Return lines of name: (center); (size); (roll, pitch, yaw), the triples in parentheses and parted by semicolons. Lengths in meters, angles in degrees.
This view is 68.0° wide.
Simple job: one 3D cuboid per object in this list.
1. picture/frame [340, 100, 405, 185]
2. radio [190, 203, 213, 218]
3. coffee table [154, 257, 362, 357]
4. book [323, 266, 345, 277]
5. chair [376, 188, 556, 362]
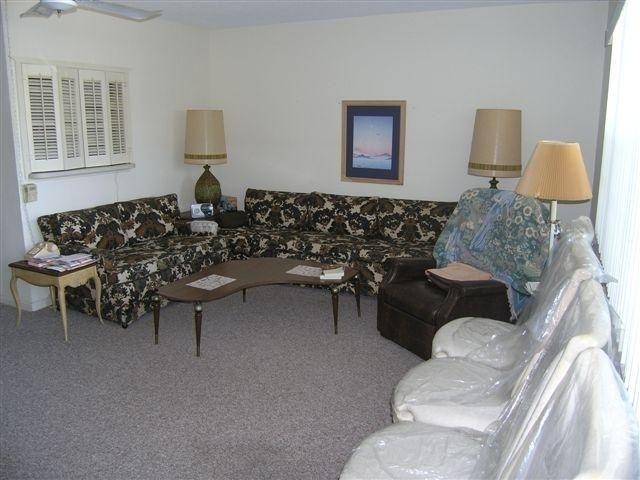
picture/frame: (0.684, -1.263, 5.945); (0.955, 1.147, 0.080); (6, 13, 25)
radio: (-1.501, -0.379, 6.051); (0.306, 0.213, 0.169); (-2, 6, -17)
coffee table: (-0.660, 0.560, 4.524); (1.790, 0.596, 0.893); (-6, 15, -22)
book: (0.121, 0.288, 4.456); (0.130, 0.048, 0.106); (-1, 17, 3)
chair: (1.250, 0.379, 4.580); (1.408, 1.895, 1.622); (-3, 10, -20)
